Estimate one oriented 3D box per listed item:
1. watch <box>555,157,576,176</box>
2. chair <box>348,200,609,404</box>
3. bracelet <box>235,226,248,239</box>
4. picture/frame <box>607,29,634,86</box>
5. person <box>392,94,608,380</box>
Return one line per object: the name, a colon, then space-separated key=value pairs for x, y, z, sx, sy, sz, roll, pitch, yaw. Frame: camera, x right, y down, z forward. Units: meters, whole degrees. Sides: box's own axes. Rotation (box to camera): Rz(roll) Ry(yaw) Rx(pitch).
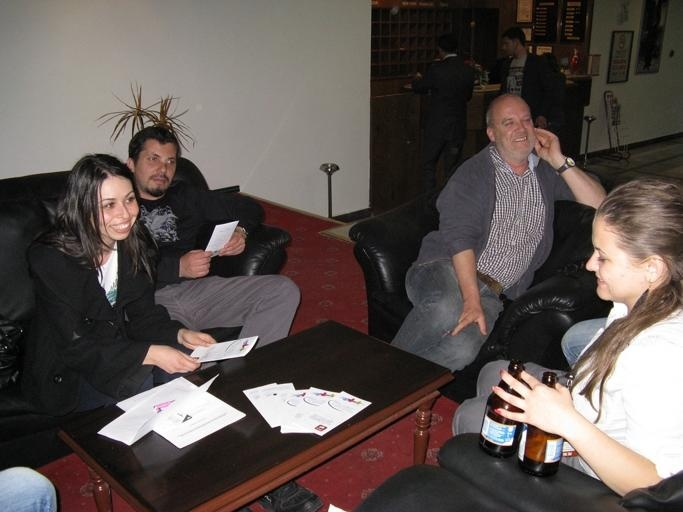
watch: x=1.199 y=-0.478 z=2.640 sx=0.051 sy=0.079 sz=0.079 roll=43 pitch=41 yaw=-6
chair: x=0.665 y=0.139 z=2.637 sx=1.122 sy=0.773 sz=0.659 roll=20 pitch=27 yaw=25
bracelet: x=-0.547 y=-0.133 z=2.713 sx=0.067 sy=0.035 sz=0.053 roll=45 pitch=10 yaw=17
picture/frame: x=4.754 y=-3.431 z=8.426 sx=0.949 sy=1.090 sz=0.076 roll=-18 pitch=19 yaw=-41
person: x=0.878 y=0.060 z=2.696 sx=0.914 sy=1.709 sz=0.803 roll=25 pitch=24 yaw=32
